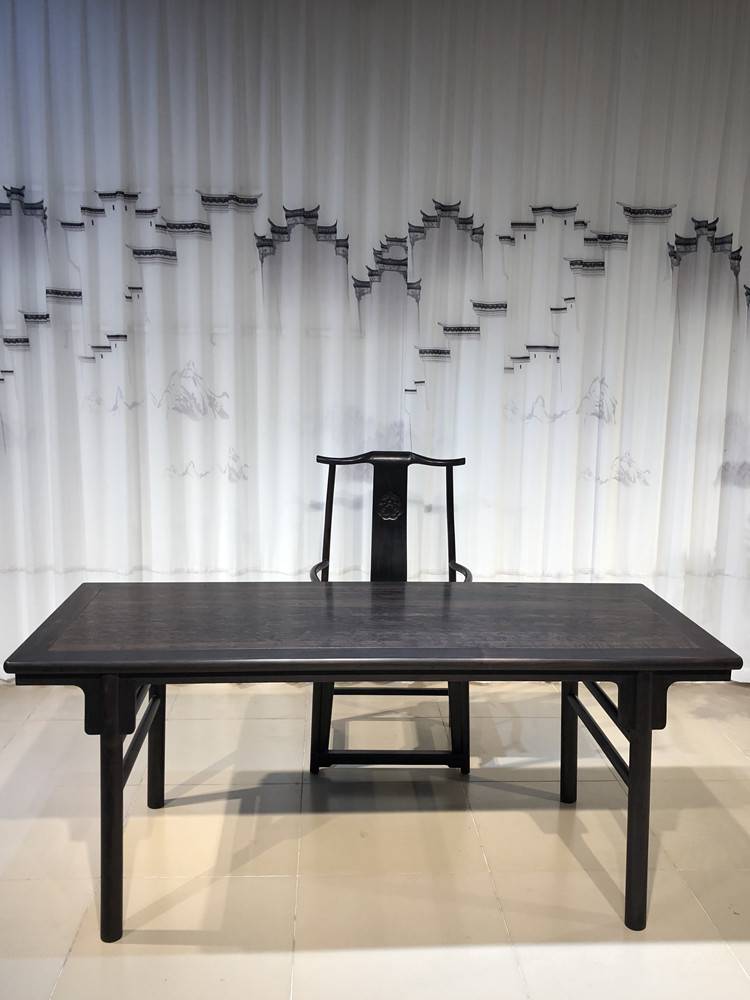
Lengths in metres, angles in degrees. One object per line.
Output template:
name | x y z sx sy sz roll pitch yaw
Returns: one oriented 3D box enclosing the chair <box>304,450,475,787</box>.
chair | 0.033 0.350 2.437 0.407 0.481 0.946 3 -76 11
